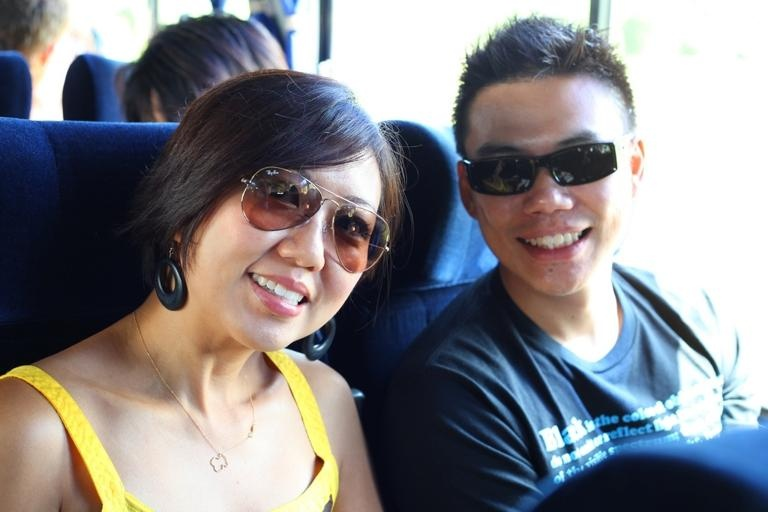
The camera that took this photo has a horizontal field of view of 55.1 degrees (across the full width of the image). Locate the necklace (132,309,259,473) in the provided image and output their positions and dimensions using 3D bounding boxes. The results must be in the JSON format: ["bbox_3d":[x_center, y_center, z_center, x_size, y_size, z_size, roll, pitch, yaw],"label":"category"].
[{"bbox_3d":[-0.492,0.373,1.868,0.044,0.428,0.252,-35,-11,30],"label":"necklace"}]
